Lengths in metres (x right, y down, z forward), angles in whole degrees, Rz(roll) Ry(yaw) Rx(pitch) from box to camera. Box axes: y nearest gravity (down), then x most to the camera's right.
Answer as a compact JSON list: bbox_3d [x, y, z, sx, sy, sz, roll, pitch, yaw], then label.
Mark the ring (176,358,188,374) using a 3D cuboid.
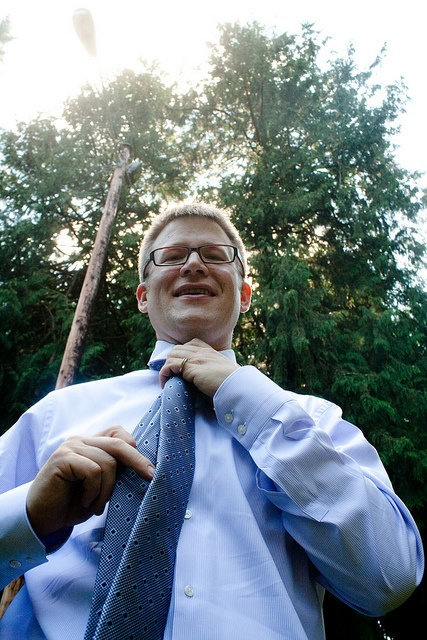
[{"bbox_3d":[-0.103,0.148,1.403,0.009,0.040,0.040,15,33,10],"label":"ring"}]
